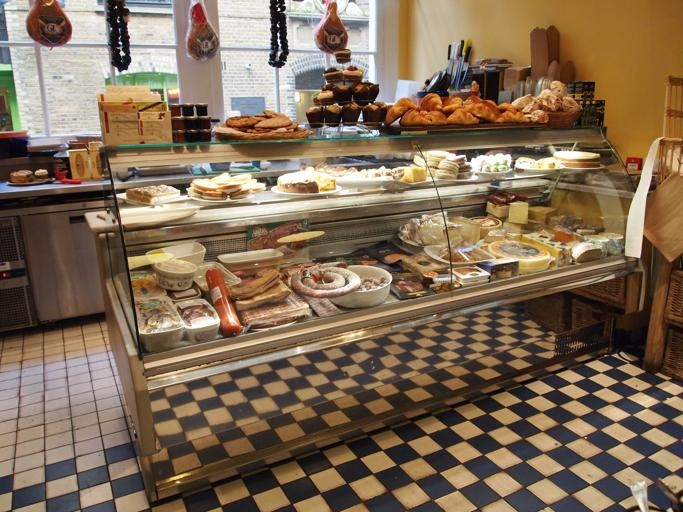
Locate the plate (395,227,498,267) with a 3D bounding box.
[{"bbox_3d":[0.682,-0.055,2.835,0.425,0.040,0.260,-9,24,-27],"label":"plate"}]

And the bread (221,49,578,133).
[{"bbox_3d":[0.622,-0.915,2.839,1.633,0.372,0.399,-10,20,-24],"label":"bread"}]

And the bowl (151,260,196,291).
[{"bbox_3d":[-0.834,0.088,2.434,0.213,0.068,0.191,-5,11,-35],"label":"bowl"}]

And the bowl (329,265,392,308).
[{"bbox_3d":[0.092,0.171,2.635,0.490,0.144,0.323,-3,16,-18],"label":"bowl"}]

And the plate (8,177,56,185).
[{"bbox_3d":[-2.574,-0.626,4.057,0.330,0.049,0.190,-12,19,-30],"label":"plate"}]

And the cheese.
[{"bbox_3d":[0.919,-0.069,2.978,1.255,0.181,0.499,-5,16,-22],"label":"cheese"}]
